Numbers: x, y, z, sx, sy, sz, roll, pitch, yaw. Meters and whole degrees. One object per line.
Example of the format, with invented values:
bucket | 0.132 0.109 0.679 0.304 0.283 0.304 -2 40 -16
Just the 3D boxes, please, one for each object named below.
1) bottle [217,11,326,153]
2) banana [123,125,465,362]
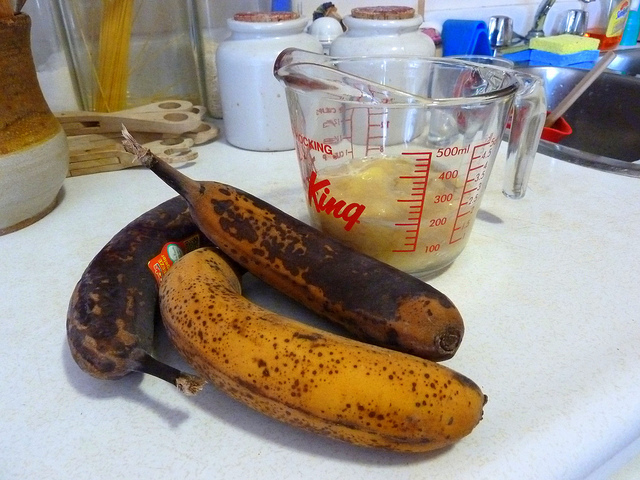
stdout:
bottle | -0.100 -0.339 1.124 0.238 0.248 0.226 7 30 14
banana | -0.038 0.012 0.684 0.474 0.134 0.099 29 37 -4
